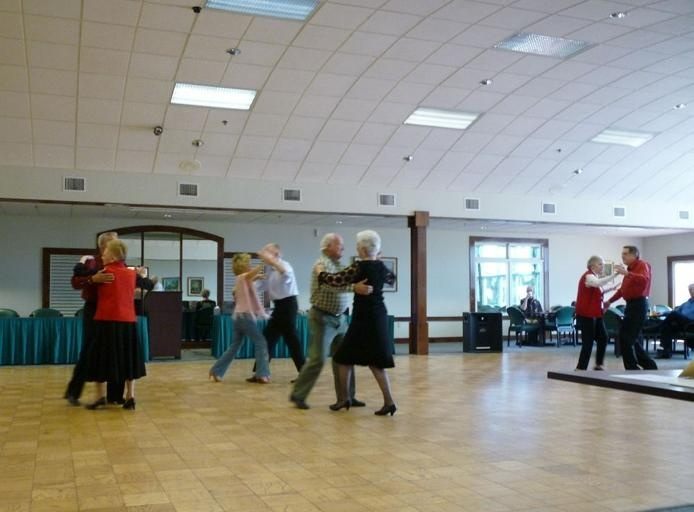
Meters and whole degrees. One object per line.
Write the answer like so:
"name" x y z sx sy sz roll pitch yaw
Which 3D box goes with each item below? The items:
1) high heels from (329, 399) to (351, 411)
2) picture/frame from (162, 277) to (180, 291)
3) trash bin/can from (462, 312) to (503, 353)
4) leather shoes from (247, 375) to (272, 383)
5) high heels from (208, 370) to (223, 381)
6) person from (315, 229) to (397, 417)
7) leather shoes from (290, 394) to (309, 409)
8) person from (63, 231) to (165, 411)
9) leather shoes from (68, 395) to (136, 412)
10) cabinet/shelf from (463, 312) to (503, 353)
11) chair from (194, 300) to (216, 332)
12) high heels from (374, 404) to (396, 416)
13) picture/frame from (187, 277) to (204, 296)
"high heels" -0.075 1.540 6.065 0.215 0.105 0.107 2 -1 9
"picture/frame" -4.293 0.679 14.117 0.318 0.308 0.118 0 -4 -12
"trash bin/can" 3.008 1.694 12.998 0.830 0.870 0.413 0 -4 8
"leather shoes" -1.216 1.687 7.961 0.336 0.144 0.114 -4 -6 16
"high heels" -1.825 1.673 8.104 0.102 0.158 0.323 11 -8 14
"person" 0.102 0.666 5.804 0.798 1.844 0.594 0 -4 -3
"leather shoes" -0.466 1.539 6.145 0.285 0.125 0.102 6 2 -20
"person" -2.505 0.676 6.193 0.676 1.858 0.575 4 -5 -42
"leather shoes" -2.601 1.572 6.196 0.356 0.149 0.118 7 -6 -3
"cabinet/shelf" 2.990 1.677 13.239 1.070 1.060 0.802 0 -1 -2
"chair" -3.403 1.438 14.102 0.668 0.955 0.793 2 1 -12
"high heels" 0.392 1.529 5.826 0.249 0.122 0.094 1 -1 33
"picture/frame" -3.773 0.766 14.410 0.470 0.559 0.040 2 -8 -28
